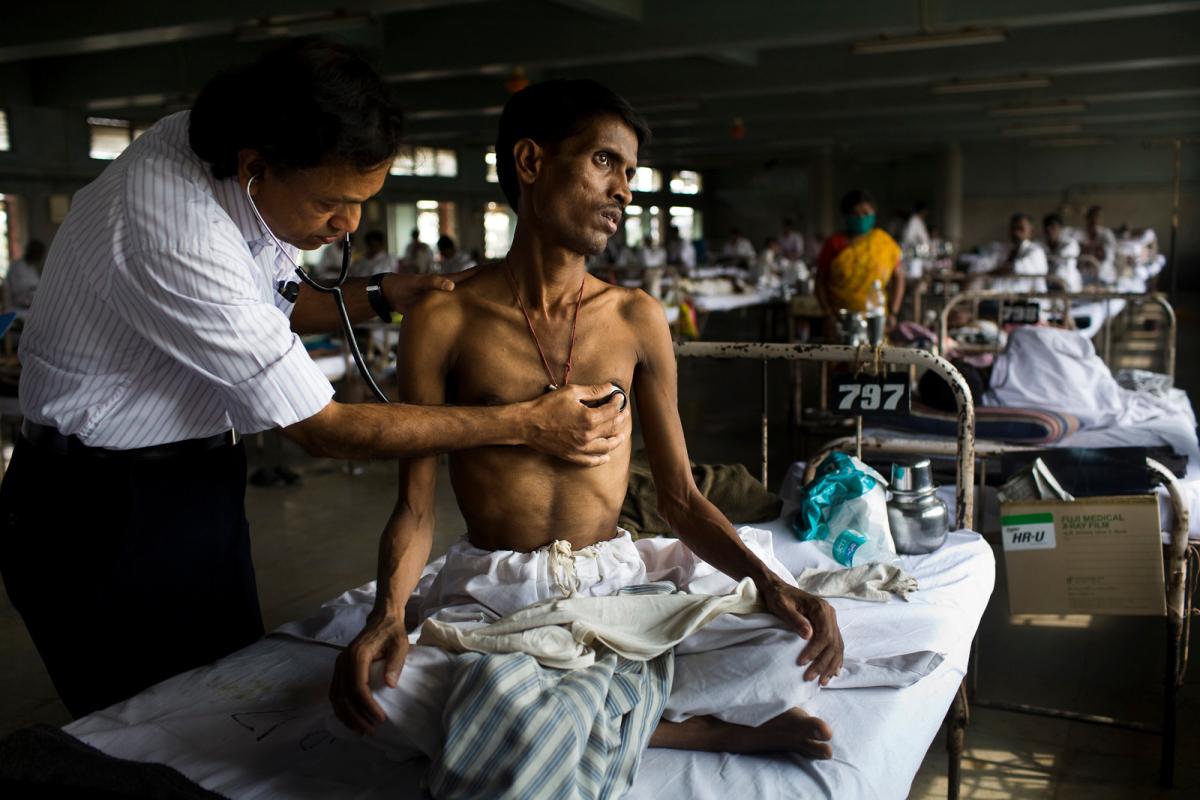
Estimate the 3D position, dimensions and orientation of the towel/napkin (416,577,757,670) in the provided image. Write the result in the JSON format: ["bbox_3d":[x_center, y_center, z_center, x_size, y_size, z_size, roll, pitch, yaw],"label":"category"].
[{"bbox_3d":[0.005,0.531,2.610,0.529,0.099,0.313,-3,3,-11],"label":"towel/napkin"}]

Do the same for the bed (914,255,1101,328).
[{"bbox_3d":[2.169,-0.542,5.604,0.634,0.411,0.423,2,7,17],"label":"bed"}]
